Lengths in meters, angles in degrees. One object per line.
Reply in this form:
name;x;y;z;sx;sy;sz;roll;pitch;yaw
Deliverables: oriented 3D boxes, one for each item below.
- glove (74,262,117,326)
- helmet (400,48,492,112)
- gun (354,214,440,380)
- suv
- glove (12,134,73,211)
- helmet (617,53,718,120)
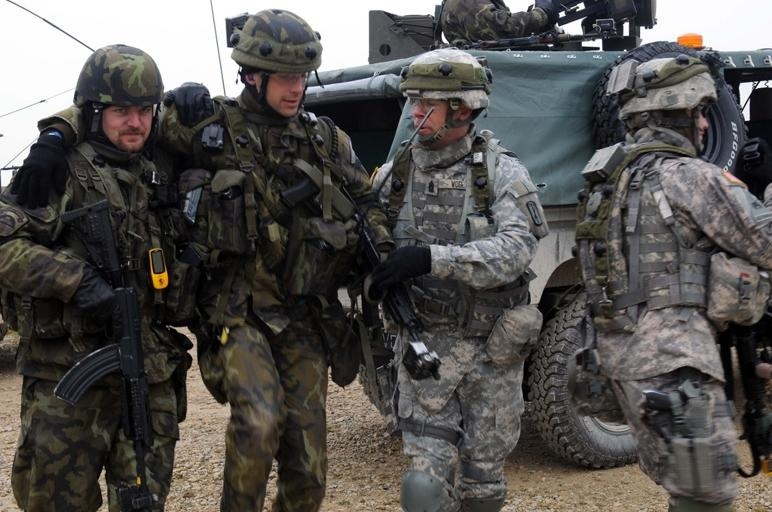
glove;-1.465;0.195;4.231;0.197;0.257;0.105;29;-34;-18
helmet;0.336;-1.021;4.635;0.377;0.242;0.369;-5;18;-14
gun;0.068;0.194;4.577;0.142;0.897;0.321;-31;-23;17
suv;1.552;-0.265;7.037;3.980;2.549;2.576;-9;10;-30
glove;-1.724;-0.441;4.167;0.280;0.404;0.142;-2;3;-25
helmet;1.543;-0.944;4.610;0.432;0.237;0.363;-7;29;27
